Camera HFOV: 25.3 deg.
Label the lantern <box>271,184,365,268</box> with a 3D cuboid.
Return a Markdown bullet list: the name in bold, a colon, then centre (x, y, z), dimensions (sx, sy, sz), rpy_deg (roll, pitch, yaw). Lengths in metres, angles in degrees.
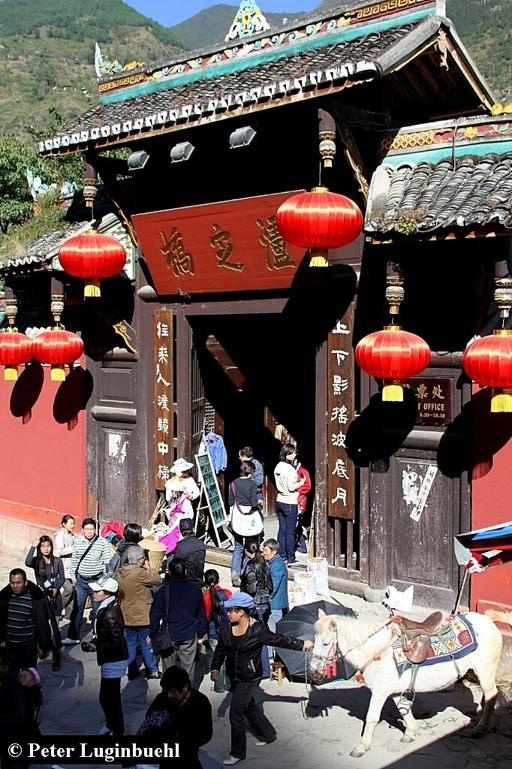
- **lantern**: centre (0.561, -1.471, 10.523), dimensions (0.719, 0.665, 0.557), rpy_deg (-5, -7, 42)

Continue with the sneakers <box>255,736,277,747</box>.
- **sneakers**: centre (0.070, 2.767, 8.813), dimensions (0.153, 0.060, 0.048), rpy_deg (-4, -16, 26)

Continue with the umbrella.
- **umbrella**: centre (0.405, 2.074, 9.019), dimensions (0.767, 0.638, 0.761), rpy_deg (0, 8, -17)

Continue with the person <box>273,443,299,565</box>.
- **person**: centre (0.407, 1.287, 12.369), dimensions (0.386, 1.312, 0.393), rpy_deg (-7, 10, -27)

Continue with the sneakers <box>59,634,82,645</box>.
- **sneakers**: centre (-1.790, 2.473, 11.010), dimensions (0.170, 0.076, 0.073), rpy_deg (8, -6, -29)

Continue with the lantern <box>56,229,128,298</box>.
- **lantern**: centre (-1.789, -1.396, 12.501), dimensions (0.587, 0.822, 0.578), rpy_deg (13, 14, 34)

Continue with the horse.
- **horse**: centre (1.162, 2.274, 8.701), dimensions (1.594, 1.093, 0.292), rpy_deg (1, -5, -21)

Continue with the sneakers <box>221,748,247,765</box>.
- **sneakers**: centre (-0.161, 2.784, 8.525), dimensions (0.205, 0.086, 0.074), rpy_deg (0, 4, -37)

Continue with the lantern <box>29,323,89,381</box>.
- **lantern**: centre (-2.295, -0.360, 13.451), dimensions (0.529, 0.614, 0.817), rpy_deg (-2, -5, 14)

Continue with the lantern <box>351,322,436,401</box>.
- **lantern**: centre (1.230, -0.201, 10.246), dimensions (0.454, 0.659, 0.582), rpy_deg (2, -6, -32)

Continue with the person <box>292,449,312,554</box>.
- **person**: centre (0.507, 1.443, 12.612), dimensions (0.169, 1.004, 0.288), rpy_deg (7, 7, 2)
